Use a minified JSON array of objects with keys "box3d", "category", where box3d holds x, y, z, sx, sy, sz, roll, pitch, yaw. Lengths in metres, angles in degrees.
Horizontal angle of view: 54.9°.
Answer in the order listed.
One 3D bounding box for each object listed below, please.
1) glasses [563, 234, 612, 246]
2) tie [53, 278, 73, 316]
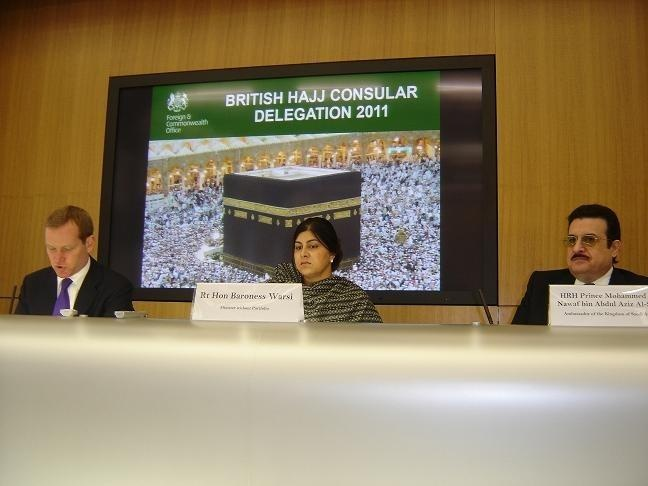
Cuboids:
[{"box3d":[0.965,-0.012,2.286,0.159,0.046,0.055,1,5,20],"category":"glasses"},{"box3d":[-0.917,0.191,2.227,0.041,0.021,0.153,15,38,-10],"category":"tie"}]
